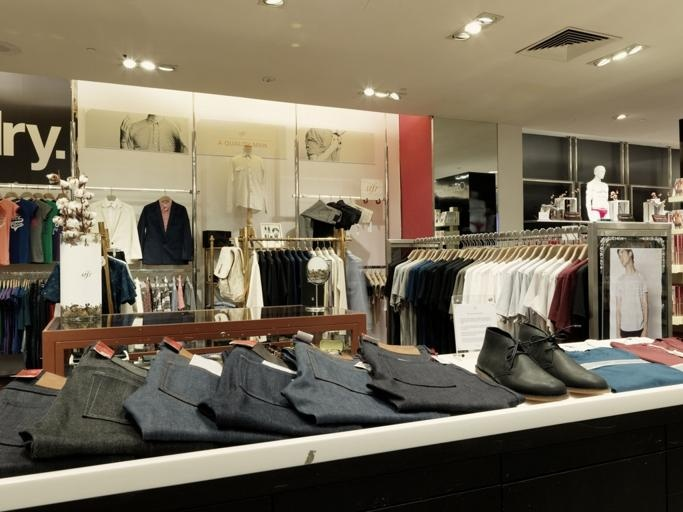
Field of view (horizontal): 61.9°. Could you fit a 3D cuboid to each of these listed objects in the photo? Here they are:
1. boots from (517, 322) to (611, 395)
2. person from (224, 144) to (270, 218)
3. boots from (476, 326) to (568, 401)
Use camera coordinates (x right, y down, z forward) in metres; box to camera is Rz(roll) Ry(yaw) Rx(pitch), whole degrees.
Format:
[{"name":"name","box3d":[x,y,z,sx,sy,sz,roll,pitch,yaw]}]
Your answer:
[{"name":"boots","box3d":[0.711,0.328,1.886,0.121,0.151,0.361,-15,17,-26]},{"name":"person","box3d":[-1.032,-0.805,6.299,0.424,1.220,0.238,2,-29,-17]},{"name":"boots","box3d":[0.546,0.346,1.843,0.123,0.139,0.336,-5,4,-30]}]
